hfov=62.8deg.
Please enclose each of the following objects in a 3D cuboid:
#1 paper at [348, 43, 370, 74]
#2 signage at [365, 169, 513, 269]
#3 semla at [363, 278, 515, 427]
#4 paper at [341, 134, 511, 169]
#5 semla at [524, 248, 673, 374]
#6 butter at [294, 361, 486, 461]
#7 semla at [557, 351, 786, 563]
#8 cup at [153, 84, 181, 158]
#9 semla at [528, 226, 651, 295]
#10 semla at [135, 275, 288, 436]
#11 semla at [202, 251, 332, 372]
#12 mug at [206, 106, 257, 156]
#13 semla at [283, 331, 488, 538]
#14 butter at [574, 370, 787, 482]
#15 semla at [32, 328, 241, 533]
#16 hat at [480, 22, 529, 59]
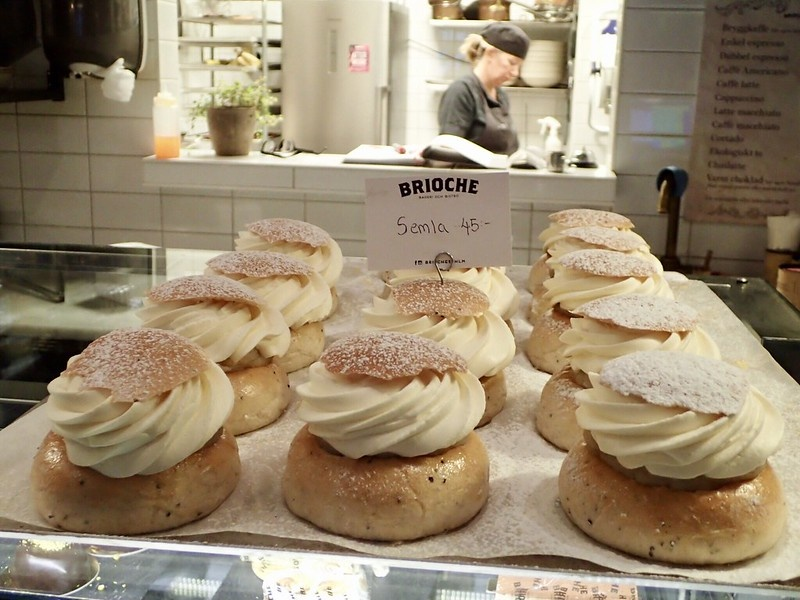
[{"bbox_3d":[-0.268,-1.546,4.168,0.199,0.216,0.022,-1,4,1],"label":"paper"},{"bbox_3d":[0.093,-0.187,1.562,0.267,0.176,0.005,-2,18,-2],"label":"signage"},{"bbox_3d":[0.093,0.096,1.505,0.321,0.203,0.323,4,8,16],"label":"semla"},{"bbox_3d":[0.105,-0.684,3.112,0.520,0.120,0.395,5,17,14],"label":"paper"},{"bbox_3d":[0.533,0.030,1.684,0.398,0.282,0.384,-5,9,11],"label":"semla"},{"bbox_3d":[-0.016,0.187,1.094,0.206,0.063,0.195,-1,1,-20],"label":"butter"},{"bbox_3d":[0.455,0.253,1.104,0.344,0.237,0.334,-7,12,-14],"label":"semla"},{"bbox_3d":[-1.197,-0.882,3.327,0.128,0.324,0.136,1,18,0],"label":"cup"},{"bbox_3d":[0.570,-0.124,1.859,0.330,0.150,0.294,8,10,-29],"label":"semla"},{"bbox_3d":[-0.373,0.104,1.461,0.321,0.254,0.329,6,3,42],"label":"semla"},{"bbox_3d":[-0.329,0.041,1.722,0.324,0.241,0.306,2,-3,7],"label":"semla"},{"bbox_3d":[-0.836,-0.834,3.248,0.235,0.248,0.197,-3,18,-13],"label":"mug"},{"bbox_3d":[-0.023,0.222,1.185,0.383,0.284,0.366,-7,15,-34],"label":"semla"},{"bbox_3d":[0.427,0.158,0.992,0.190,0.068,0.190,4,9,34],"label":"butter"},{"bbox_3d":[-0.410,0.223,1.144,0.322,0.240,0.313,5,19,2],"label":"semla"},{"bbox_3d":[0.556,-1.359,3.477,0.225,0.109,0.162,32,50,28],"label":"hat"}]
